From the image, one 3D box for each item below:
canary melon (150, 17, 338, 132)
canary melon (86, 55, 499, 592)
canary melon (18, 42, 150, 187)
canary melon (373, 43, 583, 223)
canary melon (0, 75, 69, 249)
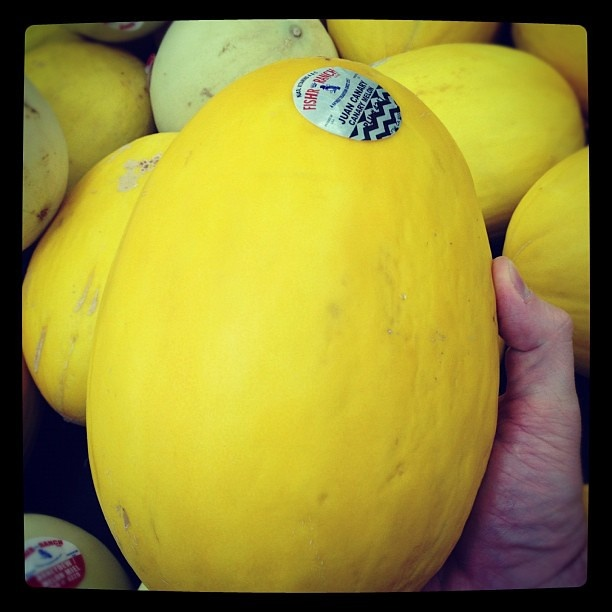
[{"bbox_3d":[-0.061,-0.239,0.779,0.149,0.146,0.140,-14,21,20],"label":"canary melon"},{"bbox_3d":[-0.002,0.031,0.591,0.310,0.278,0.359,5,53,15],"label":"canary melon"},{"bbox_3d":[-0.234,-0.194,0.719,0.098,0.119,0.098,-34,18,24],"label":"canary melon"},{"bbox_3d":[0.206,-0.192,0.788,0.200,0.171,0.151,-17,18,-19],"label":"canary melon"},{"bbox_3d":[-0.257,-0.133,0.678,0.070,0.133,0.085,4,-1,-23],"label":"canary melon"}]
